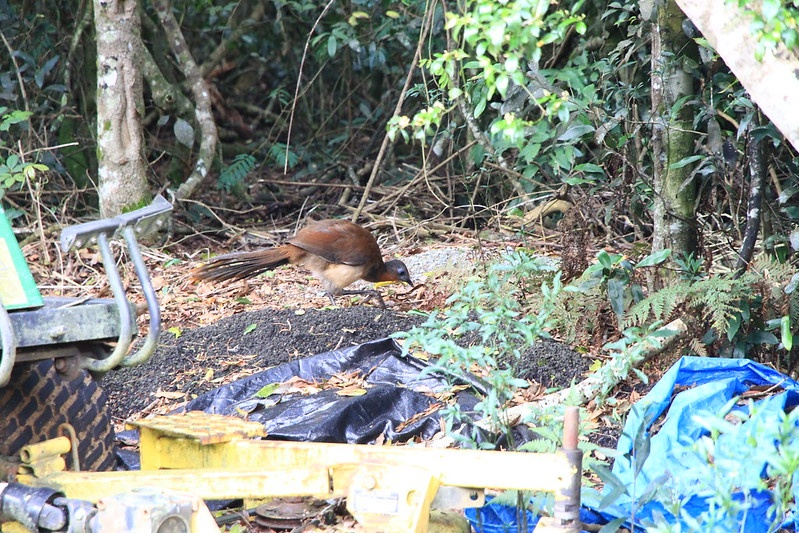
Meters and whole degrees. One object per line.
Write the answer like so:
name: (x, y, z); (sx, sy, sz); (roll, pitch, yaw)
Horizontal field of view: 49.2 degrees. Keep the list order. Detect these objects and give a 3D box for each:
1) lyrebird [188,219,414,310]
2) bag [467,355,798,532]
lyrebird: (-0.817, -0.028, 7.453); (1.921, 0.707, 0.486); (7, -4, -13)
bag: (1.549, 0.902, 4.840); (0.997, 0.362, 1.484); (20, 40, 40)
